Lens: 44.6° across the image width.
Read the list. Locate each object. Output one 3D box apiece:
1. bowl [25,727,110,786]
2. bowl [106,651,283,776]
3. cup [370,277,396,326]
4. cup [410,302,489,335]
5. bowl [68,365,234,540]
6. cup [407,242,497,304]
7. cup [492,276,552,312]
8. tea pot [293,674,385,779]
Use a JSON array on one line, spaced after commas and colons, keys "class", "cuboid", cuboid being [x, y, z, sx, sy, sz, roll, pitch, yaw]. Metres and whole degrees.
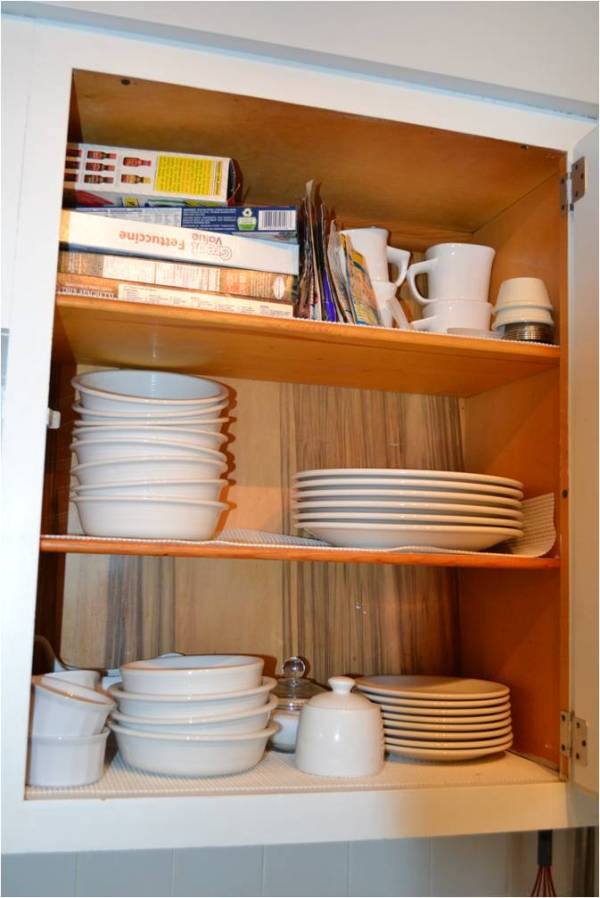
[{"class": "bowl", "cuboid": [-0.249, 0.327, 0.773, 0.078, 0.052, 0.081, -1, -15, 0]}, {"class": "bowl", "cuboid": [-0.120, 0.280, 0.842, 0.147, 0.081, 0.148, -2, -14, 0]}, {"class": "cup", "cuboid": [0.126, -0.219, 1.076, 0.052, 0.069, 0.066, 1, 0, 1]}, {"class": "cup", "cuboid": [0.229, -0.198, 1.104, 0.101, 0.047, 0.068, -3, -8, 2]}, {"class": "bowl", "cuboid": [-0.179, 0.002, 0.912, 0.214, 0.173, 0.198, 2, -5, 0]}, {"class": "cup", "cuboid": [0.240, -0.257, 1.144, 0.125, 0.097, 0.086, -1, -2, 32]}, {"class": "cup", "cuboid": [0.314, -0.203, 1.007, 0.054, 0.028, 0.056, 0, 0, 0]}, {"class": "tea pot", "cuboid": [0.056, 0.340, 0.877, 0.083, 0.089, 0.090, 1, -20, 0]}]
